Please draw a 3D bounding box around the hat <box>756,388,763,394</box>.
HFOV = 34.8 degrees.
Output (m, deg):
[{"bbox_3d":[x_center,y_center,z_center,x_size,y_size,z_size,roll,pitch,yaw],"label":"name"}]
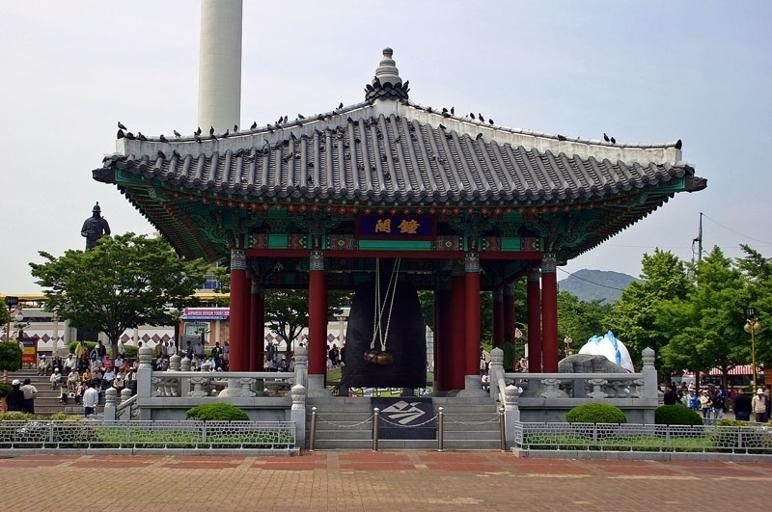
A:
[{"bbox_3d":[17.923,6.503,58.651,0.241,0.197,0.224,1,-7,9],"label":"hat"}]
